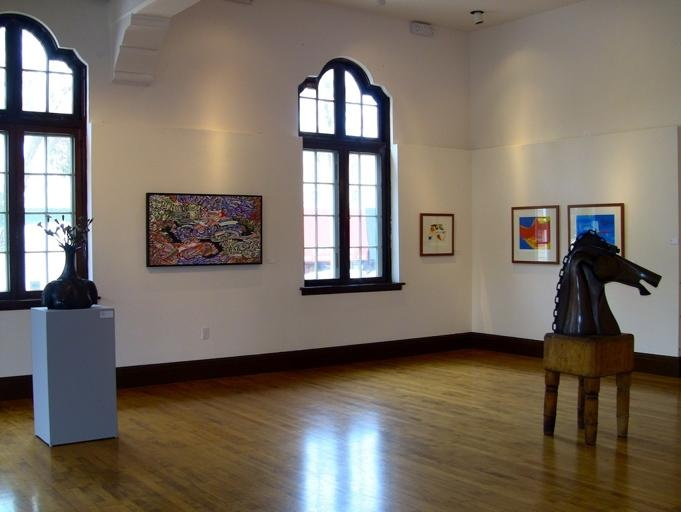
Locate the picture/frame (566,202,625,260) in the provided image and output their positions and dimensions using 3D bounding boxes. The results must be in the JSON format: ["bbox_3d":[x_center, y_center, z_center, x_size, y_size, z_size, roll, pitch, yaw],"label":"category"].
[{"bbox_3d":[3.846,-0.384,7.947,0.798,0.872,0.039,1,-12,24],"label":"picture/frame"}]

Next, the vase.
[{"bbox_3d":[-3.021,0.229,5.831,0.658,0.835,0.382,1,-1,-19],"label":"vase"}]

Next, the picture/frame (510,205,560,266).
[{"bbox_3d":[3.234,-0.359,8.667,0.037,1.161,0.912,-1,2,-34],"label":"picture/frame"}]

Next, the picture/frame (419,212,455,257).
[{"bbox_3d":[1.656,-0.401,9.207,0.689,0.800,0.059,1,1,-26],"label":"picture/frame"}]
